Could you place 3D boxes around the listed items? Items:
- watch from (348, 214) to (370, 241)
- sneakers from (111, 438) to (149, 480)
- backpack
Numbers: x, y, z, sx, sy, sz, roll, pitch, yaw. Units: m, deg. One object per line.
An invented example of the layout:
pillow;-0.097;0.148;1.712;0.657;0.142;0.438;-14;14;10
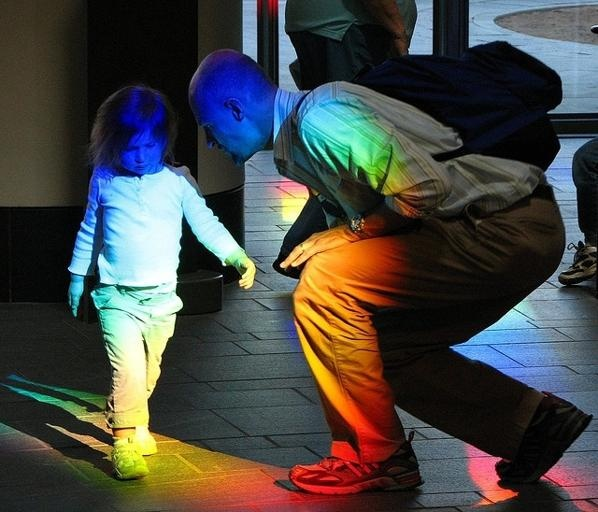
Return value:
watch;0.174;-0.094;2.241;0.061;0.064;0.066;-8;-7;-9
sneakers;-0.627;0.725;2.490;0.091;0.064;0.206;-1;-2;-28
backpack;0.468;-0.475;2.343;0.813;0.223;0.393;8;43;-5
